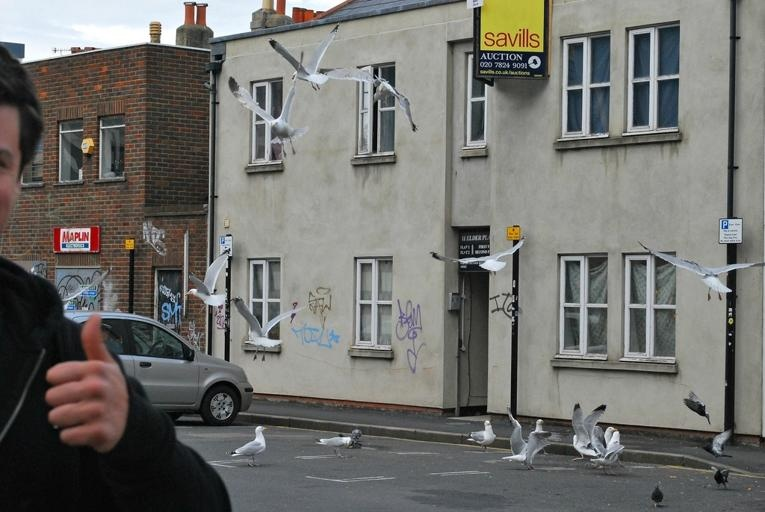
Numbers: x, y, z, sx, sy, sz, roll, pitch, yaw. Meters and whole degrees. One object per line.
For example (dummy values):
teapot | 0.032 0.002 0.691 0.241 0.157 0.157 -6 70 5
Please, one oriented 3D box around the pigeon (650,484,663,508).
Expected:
pigeon | 4.649 4.013 26.413 0.175 0.401 0.295 1 -17 6

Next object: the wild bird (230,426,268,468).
wild bird | -2.407 3.468 28.848 0.871 0.849 0.440 -4 -8 1

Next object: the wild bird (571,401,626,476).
wild bird | 3.977 3.396 29.023 1.036 0.654 1.281 -20 47 -24

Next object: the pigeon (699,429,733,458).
pigeon | 6.353 3.372 29.257 0.534 0.798 0.232 9 38 -17

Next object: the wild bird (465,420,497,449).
wild bird | 1.983 3.463 30.701 0.635 0.639 0.403 -1 -4 36

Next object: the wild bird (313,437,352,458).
wild bird | -0.913 3.595 29.936 0.625 0.403 1.049 -1 -1 -1

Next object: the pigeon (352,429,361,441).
pigeon | -0.503 3.395 29.930 0.170 0.230 0.080 3 6 -1

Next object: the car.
car | -4.651 2.311 33.122 3.690 2.064 2.132 1 -3 -26

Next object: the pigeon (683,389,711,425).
pigeon | 6.354 2.975 31.237 0.202 0.502 0.503 -37 -6 -11

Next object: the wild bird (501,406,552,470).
wild bird | 2.800 3.273 29.234 0.903 0.885 1.041 -33 -35 23
